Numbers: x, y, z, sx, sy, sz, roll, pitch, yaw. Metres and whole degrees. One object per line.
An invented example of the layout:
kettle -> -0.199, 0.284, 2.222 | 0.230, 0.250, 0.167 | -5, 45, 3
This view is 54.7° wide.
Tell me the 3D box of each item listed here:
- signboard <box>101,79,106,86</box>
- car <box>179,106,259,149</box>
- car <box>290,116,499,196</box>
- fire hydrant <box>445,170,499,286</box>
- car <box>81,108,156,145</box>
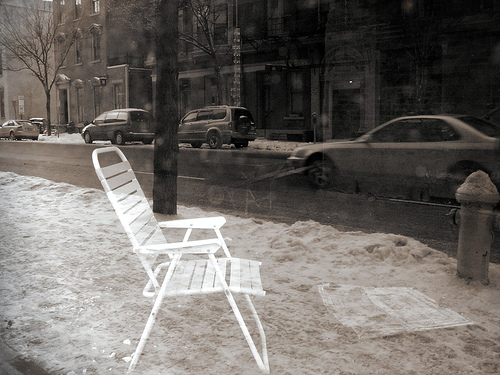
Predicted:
signboard -> -12.090, -8.619, 39.840 | 0.707, 0.561, 0.162 | 12, 18, 43
car -> -1.638, -2.946, 23.199 | 3.446, 1.671, 1.719 | 11, 13, 43
car -> 2.815, -0.636, 8.988 | 2.973, 1.187, 1.289 | 9, 12, 39
fire hydrant -> 2.501, 0.439, 5.337 | 0.433, 1.179, 0.468 | 3, 14, 17
car -> -7.502, -3.397, 27.020 | 5.231, 2.092, 2.053 | 9, 16, 33
